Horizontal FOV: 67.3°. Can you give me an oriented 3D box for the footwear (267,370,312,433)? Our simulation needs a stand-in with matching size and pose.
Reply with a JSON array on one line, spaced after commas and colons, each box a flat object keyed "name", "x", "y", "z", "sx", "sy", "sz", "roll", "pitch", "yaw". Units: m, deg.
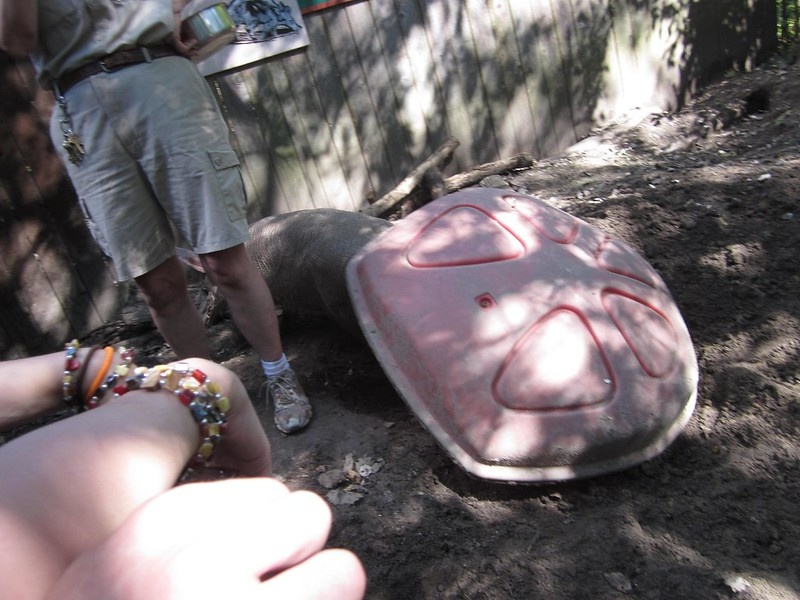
[{"name": "footwear", "x": -0.432, "y": 0.356, "z": 2.281, "sx": 0.167, "sy": 0.125, "sz": 0.297, "roll": -17, "pitch": 43, "yaw": -7}]
